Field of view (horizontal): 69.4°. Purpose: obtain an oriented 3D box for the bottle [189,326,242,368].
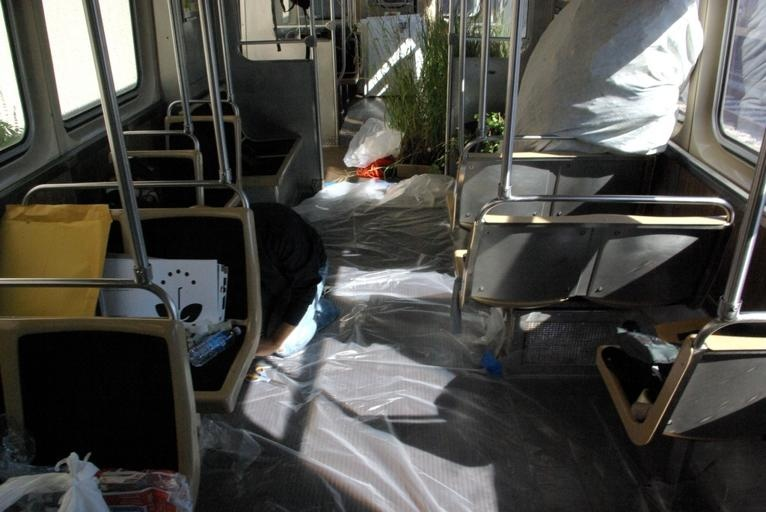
[{"bbox_3d":[-0.788,0.428,2.623,0.223,0.088,0.117,-33,80,-16],"label":"bottle"}]
